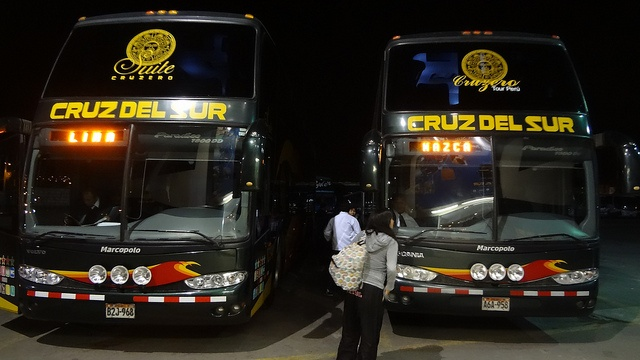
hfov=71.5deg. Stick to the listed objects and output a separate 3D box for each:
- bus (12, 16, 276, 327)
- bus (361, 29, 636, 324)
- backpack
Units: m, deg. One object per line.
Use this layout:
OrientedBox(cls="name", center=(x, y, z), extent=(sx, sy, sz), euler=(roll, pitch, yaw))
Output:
OrientedBox(cls="bus", center=(-3.114, -0.331, 8.103), extent=(4.046, 5.476, 1.874), euler=(2, 7, 7))
OrientedBox(cls="bus", center=(3.857, 0.061, 12.482), extent=(3.497, 3.538, 8.475), euler=(0, -2, 5))
OrientedBox(cls="backpack", center=(0.467, 1.312, 7.031), extent=(0.575, 0.902, 0.407), euler=(1, 7, -6))
